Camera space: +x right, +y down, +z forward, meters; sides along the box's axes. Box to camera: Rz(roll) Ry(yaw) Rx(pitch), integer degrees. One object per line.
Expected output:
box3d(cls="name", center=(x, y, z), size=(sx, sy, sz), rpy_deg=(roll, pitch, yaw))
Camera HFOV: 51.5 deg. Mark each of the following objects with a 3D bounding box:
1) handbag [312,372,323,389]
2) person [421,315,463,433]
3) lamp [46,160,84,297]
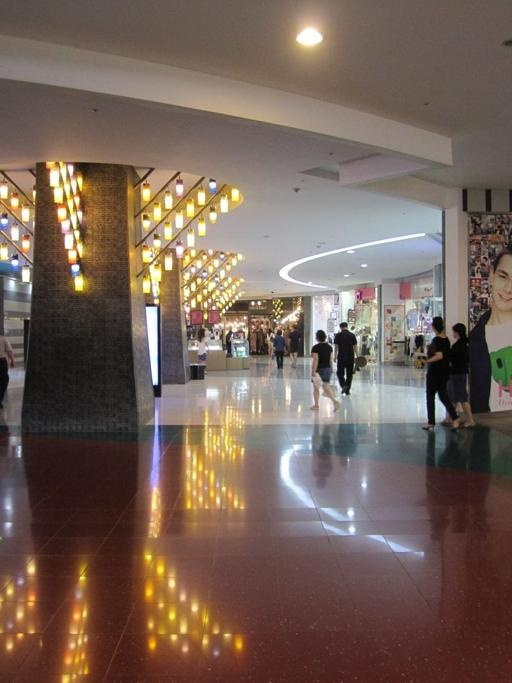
box3d(cls="handbag", center=(1.245, 0.799, 10.675), size=(0.062, 0.265, 0.604), rpy_deg=(-26, 25, 10))
box3d(cls="person", center=(2.302, 0.412, 6.743), size=(0.646, 1.428, 0.335), rpy_deg=(-1, 0, -42))
box3d(cls="lamp", center=(-2.301, -1.425, 6.519), size=(0.266, 1.473, 0.656), rpy_deg=(0, 0, -6))
